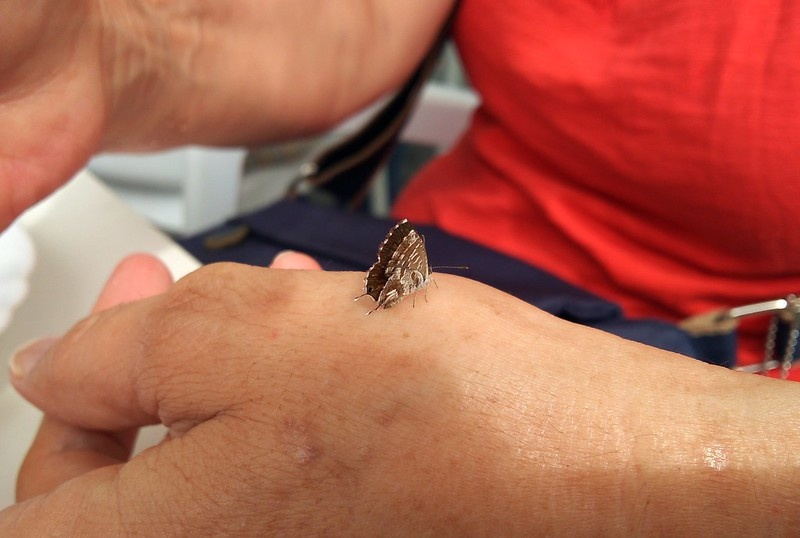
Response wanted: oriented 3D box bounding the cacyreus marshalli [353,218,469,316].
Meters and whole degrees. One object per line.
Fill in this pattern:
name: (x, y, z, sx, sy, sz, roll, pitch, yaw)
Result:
cacyreus marshalli: (0.017, -0.004, 1.221, 0.159, 0.142, 0.108, -10, 86, 16)
